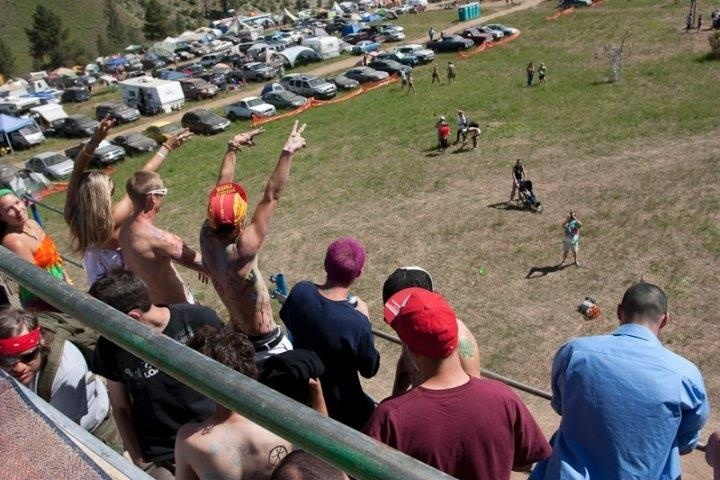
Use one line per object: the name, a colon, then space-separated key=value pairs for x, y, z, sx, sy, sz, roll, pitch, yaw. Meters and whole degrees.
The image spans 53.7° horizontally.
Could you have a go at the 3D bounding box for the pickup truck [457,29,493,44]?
pickup truck: x=7.541 y=-13.060 z=45.454 sx=1.761 sy=0.835 sz=1.011 roll=23 pitch=50 yaw=33

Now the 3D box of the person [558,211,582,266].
person: x=5.644 y=-0.241 z=19.210 sx=0.521 sy=1.491 sz=1.543 roll=-2 pitch=23 yaw=17

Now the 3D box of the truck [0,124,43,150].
truck: x=-17.982 y=-5.446 z=38.030 sx=1.874 sy=1.038 sz=1.072 roll=3 pitch=29 yaw=15

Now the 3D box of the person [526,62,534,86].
person: x=8.046 y=-7.931 z=33.798 sx=0.311 sy=1.158 sz=1.857 roll=-4 pitch=23 yaw=13

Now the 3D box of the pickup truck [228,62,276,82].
pickup truck: x=-6.966 y=-11.323 z=47.662 sx=2.200 sy=0.863 sz=1.303 roll=11 pitch=42 yaw=22

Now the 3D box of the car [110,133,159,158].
car: x=-10.559 y=-4.528 z=32.994 sx=2.014 sy=0.721 sz=0.965 roll=17 pitch=36 yaw=38

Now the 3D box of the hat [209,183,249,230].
hat: x=-1.969 y=-0.481 z=10.470 sx=0.610 sy=0.615 sz=0.358 roll=-15 pitch=22 yaw=-14

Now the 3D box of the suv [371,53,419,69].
suv: x=2.275 y=-11.073 z=42.946 sx=2.456 sy=0.872 sz=1.222 roll=2 pitch=55 yaw=3

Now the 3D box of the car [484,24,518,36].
car: x=9.307 y=-13.731 z=47.209 sx=2.168 sy=0.709 sz=0.951 roll=23 pitch=44 yaw=34

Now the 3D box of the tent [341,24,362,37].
tent: x=-0.824 y=-17.162 z=58.231 sx=1.421 sy=0.781 sz=2.975 roll=-15 pitch=23 yaw=-14

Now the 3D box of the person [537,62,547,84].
person: x=8.686 y=-7.987 z=33.993 sx=0.346 sy=0.926 sz=1.596 roll=-4 pitch=23 yaw=13

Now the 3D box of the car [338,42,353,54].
car: x=-1.051 y=-14.827 z=54.741 sx=0.997 sy=0.706 sz=1.655 roll=-10 pitch=22 yaw=-2

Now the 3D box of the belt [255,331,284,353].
belt: x=-1.387 y=1.540 z=10.760 sx=0.282 sy=0.120 sz=0.325 roll=-11 pitch=21 yaw=49

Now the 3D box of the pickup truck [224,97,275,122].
pickup truck: x=-5.852 y=-6.766 z=36.418 sx=2.509 sy=0.988 sz=1.375 roll=8 pitch=28 yaw=33

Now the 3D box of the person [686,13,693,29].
person: x=19.074 y=-12.708 z=41.286 sx=0.370 sy=0.749 sz=1.410 roll=1 pitch=24 yaw=24

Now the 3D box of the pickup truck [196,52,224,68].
pickup truck: x=-11.704 y=-14.156 z=56.028 sx=1.817 sy=0.929 sz=1.671 roll=-14 pitch=22 yaw=-11

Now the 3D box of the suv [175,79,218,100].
suv: x=-10.170 y=-9.536 z=44.901 sx=2.285 sy=1.232 sz=1.111 roll=7 pitch=27 yaw=36

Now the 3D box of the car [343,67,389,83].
car: x=0.257 y=-9.364 z=40.134 sx=2.225 sy=0.715 sz=1.069 roll=10 pitch=38 yaw=26

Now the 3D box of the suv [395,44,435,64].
suv: x=3.395 y=-11.426 z=44.257 sx=2.268 sy=0.838 sz=1.223 roll=29 pitch=61 yaw=27

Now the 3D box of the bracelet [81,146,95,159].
bracelet: x=-4.512 y=-1.453 z=11.794 sx=0.183 sy=0.158 sz=0.192 roll=2 pitch=0 yaw=-31

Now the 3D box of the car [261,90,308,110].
car: x=-3.991 y=-7.132 z=37.333 sx=2.202 sy=0.792 sz=1.080 roll=15 pitch=44 yaw=23

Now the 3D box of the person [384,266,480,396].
person: x=0.972 y=1.301 z=10.472 sx=1.213 sy=1.111 sz=1.990 roll=-12 pitch=41 yaw=-7

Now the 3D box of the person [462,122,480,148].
person: x=4.262 y=-4.052 z=27.470 sx=0.391 sy=0.934 sz=1.512 roll=8 pitch=29 yaw=16

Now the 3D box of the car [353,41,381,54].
car: x=0.567 y=-14.620 z=53.644 sx=2.137 sy=0.728 sz=0.943 roll=-32 pitch=42 yaw=-30

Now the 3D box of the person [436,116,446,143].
person: x=3.120 y=-4.263 z=27.112 sx=0.344 sy=0.778 sz=0.889 roll=-6 pitch=22 yaw=9

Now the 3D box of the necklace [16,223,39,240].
necklace: x=-5.430 y=-0.106 z=11.676 sx=0.194 sy=0.188 sz=0.205 roll=-35 pitch=50 yaw=22

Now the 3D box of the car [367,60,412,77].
car: x=1.754 y=-10.053 z=40.928 sx=2.533 sy=0.876 sz=1.141 roll=13 pitch=41 yaw=25

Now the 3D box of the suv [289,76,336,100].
suv: x=-2.550 y=-8.341 z=38.381 sx=2.259 sy=1.096 sz=1.289 roll=24 pitch=48 yaw=29

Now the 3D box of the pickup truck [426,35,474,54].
pickup truck: x=5.807 y=-12.346 z=45.756 sx=2.637 sy=1.000 sz=1.352 roll=11 pitch=41 yaw=28
